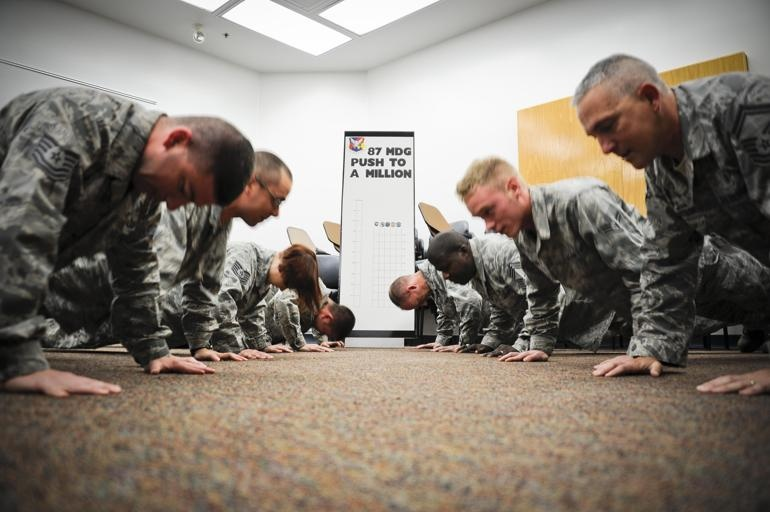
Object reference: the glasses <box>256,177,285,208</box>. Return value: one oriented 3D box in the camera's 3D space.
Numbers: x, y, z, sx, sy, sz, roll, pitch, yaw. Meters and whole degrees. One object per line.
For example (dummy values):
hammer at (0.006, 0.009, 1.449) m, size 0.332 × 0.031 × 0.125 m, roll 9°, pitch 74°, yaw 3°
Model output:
glasses at (-0.510, -0.285, 2.119) m, size 0.037 × 0.116 × 0.113 m, roll -30°, pitch 1°, yaw 3°

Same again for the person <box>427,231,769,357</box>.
person at (1.018, 0.124, 2.670) m, size 1.485 × 0.605 × 0.548 m, roll -5°, pitch 17°, yaw 29°

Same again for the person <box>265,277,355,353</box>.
person at (-0.685, 0.443, 3.371) m, size 0.874 × 0.436 × 0.663 m, roll 7°, pitch -13°, yaw -16°

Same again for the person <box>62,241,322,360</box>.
person at (-1.035, 0.226, 2.649) m, size 1.449 × 0.446 × 0.692 m, roll -4°, pitch -5°, yaw 26°
